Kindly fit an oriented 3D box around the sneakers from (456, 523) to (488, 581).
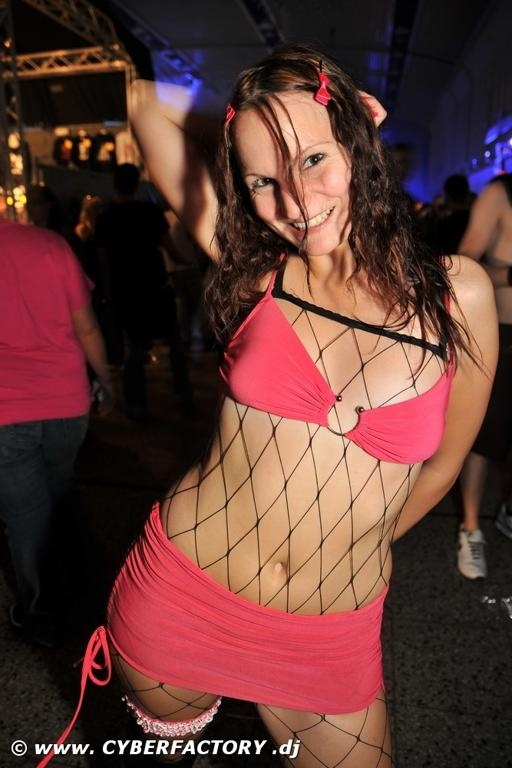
[{"bbox_3d":[0.885,0.693,2.621,0.079,0.089,0.233,2,30,8],"label":"sneakers"}]
